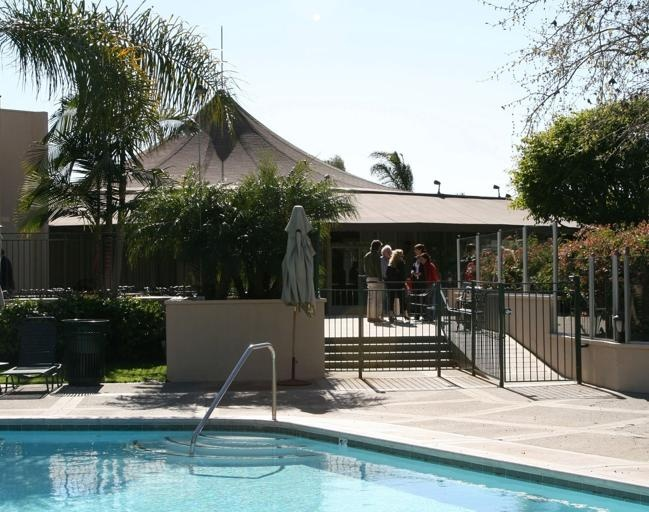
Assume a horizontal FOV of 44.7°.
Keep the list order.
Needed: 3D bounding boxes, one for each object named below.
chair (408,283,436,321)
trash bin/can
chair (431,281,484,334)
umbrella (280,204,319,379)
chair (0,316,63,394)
[{"bbox_3d":[2.537,1.150,20.373,0.945,1.136,0.546,0,-3,-27],"label":"chair"},{"bbox_3d":[-4.592,1.864,15.451,1.037,1.411,0.994,3,-7,-32],"label":"trash bin/can"},{"bbox_3d":[2.930,1.070,16.989,1.137,1.060,0.932,-1,3,1],"label":"chair"},{"bbox_3d":[-0.493,0.725,15.529,0.657,3.405,0.780,0,-1,-2],"label":"umbrella"},{"bbox_3d":[-5.583,1.816,15.248,0.991,1.316,2.246,1,-2,-21],"label":"chair"}]
